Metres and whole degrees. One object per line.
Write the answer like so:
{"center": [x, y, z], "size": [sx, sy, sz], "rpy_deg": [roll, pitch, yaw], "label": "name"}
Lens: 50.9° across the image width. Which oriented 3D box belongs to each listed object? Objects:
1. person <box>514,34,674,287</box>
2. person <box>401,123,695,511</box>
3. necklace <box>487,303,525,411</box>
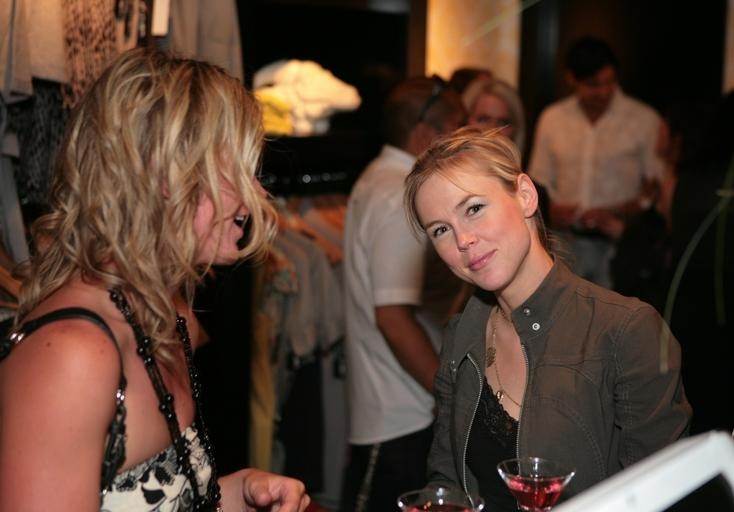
{"center": [0.951, -0.145, 3.261], "size": [0.511, 1.541, 0.441], "rpy_deg": [0, 47, 14], "label": "person"}
{"center": [0.520, 0.224, 2.446], "size": [0.414, 1.200, 0.931], "rpy_deg": [-15, 20, -42], "label": "person"}
{"center": [0.451, 0.341, 2.547], "size": [0.045, 0.096, 0.354], "rpy_deg": [27, 34, -24], "label": "necklace"}
